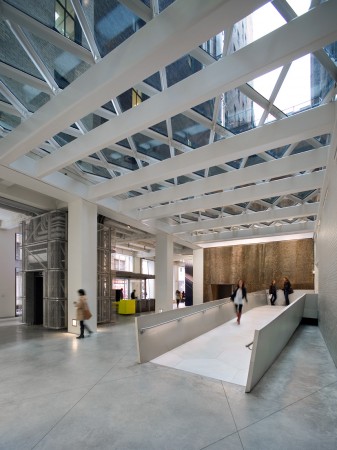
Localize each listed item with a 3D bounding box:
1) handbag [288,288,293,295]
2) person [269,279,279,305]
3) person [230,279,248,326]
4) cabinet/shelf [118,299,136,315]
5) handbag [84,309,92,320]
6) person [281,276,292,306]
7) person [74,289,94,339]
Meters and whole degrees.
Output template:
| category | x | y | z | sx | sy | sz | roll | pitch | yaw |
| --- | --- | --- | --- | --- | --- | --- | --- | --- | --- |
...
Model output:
| category | x | y | z | sx | sy | sz | roll | pitch | yaw |
| --- | --- | --- | --- | --- | --- | --- | --- | --- | --- |
| handbag | 8.048 | 4.353 | 18.119 | 0.259 | 0.406 | 0.870 | -6 | -14 | 23 |
| person | 7.079 | 4.662 | 18.738 | 0.455 | 1.619 | 1.108 | -5 | -12 | 18 |
| person | 3.008 | 3.197 | 11.656 | 0.665 | 1.732 | 0.609 | 8 | 8 | 32 |
| cabinet/shelf | -2.893 | 5.867 | 19.595 | 1.295 | 0.995 | 0.896 | 10 | -16 | -40 |
| handbag | -2.857 | 3.167 | 9.757 | 0.191 | 0.313 | 0.376 | -2 | -12 | 5 |
| person | 7.914 | 4.430 | 18.365 | 0.538 | 1.877 | 1.348 | -5 | -13 | 21 |
| person | -3.149 | 3.253 | 10.155 | 0.637 | 1.722 | 1.583 | 2 | -13 | -16 |
